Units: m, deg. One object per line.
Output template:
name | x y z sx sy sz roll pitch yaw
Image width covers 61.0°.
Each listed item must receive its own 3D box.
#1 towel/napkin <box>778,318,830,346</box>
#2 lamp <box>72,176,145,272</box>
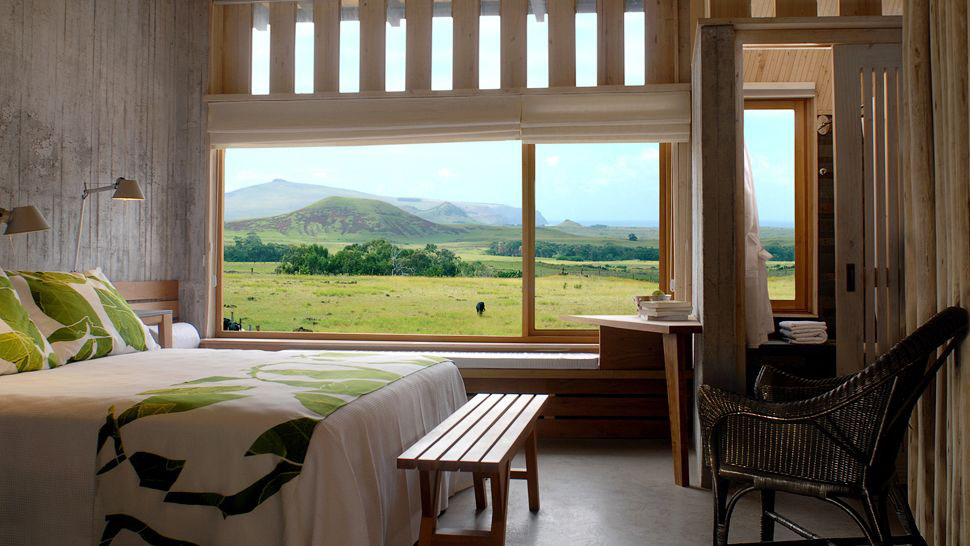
towel/napkin | 2.600 0.472 6.685 0.280 0.092 0.206 -3 4 -15
lamp | -3.203 -0.436 6.992 0.544 0.790 0.632 -3 5 -26
